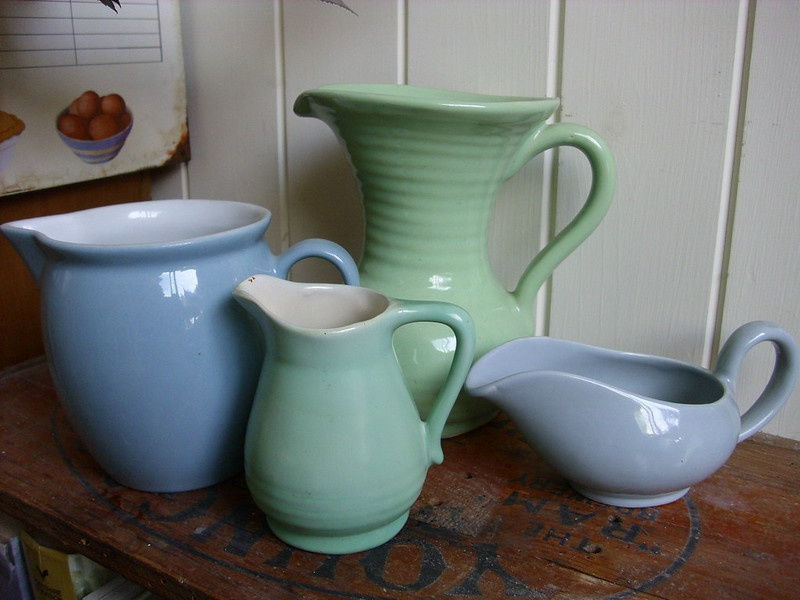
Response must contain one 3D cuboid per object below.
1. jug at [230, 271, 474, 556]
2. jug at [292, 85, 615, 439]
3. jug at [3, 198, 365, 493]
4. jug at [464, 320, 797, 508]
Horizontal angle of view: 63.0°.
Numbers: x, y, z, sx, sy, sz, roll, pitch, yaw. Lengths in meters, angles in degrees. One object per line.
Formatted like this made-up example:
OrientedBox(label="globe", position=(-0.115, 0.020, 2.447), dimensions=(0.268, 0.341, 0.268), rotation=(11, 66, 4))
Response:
OrientedBox(label="jug", position=(-0.040, 0.093, 0.577), dimensions=(0.195, 0.215, 0.155), rotation=(2, 14, 12))
OrientedBox(label="jug", position=(0.048, -0.043, 0.727), dimensions=(0.286, 0.377, 0.226), rotation=(-8, 18, -34))
OrientedBox(label="jug", position=(-0.211, 0.035, 0.701), dimensions=(0.333, 0.257, 0.231), rotation=(2, 9, -9))
OrientedBox(label="jug", position=(0.194, 0.094, 0.647), dimensions=(0.300, 0.157, 0.163), rotation=(-3, 10, 2))
